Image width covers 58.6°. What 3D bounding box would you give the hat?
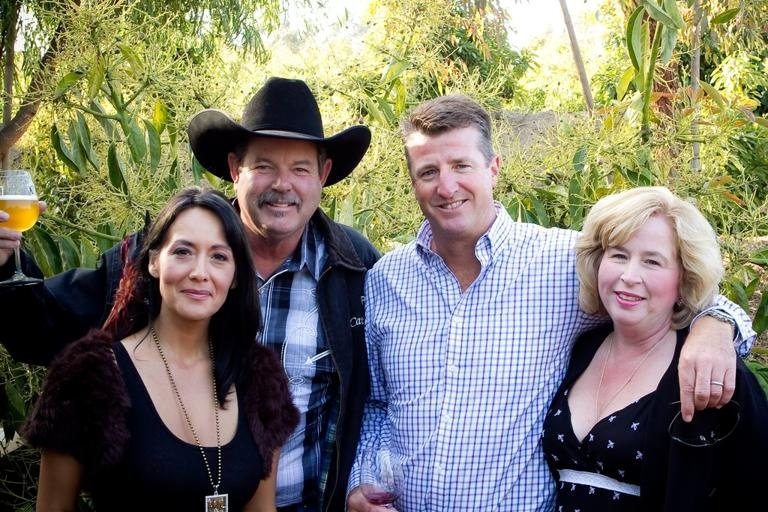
[{"bbox_3d":[-0.684,-0.764,4.203,0.842,0.364,0.919,4,-19,-5],"label":"hat"}]

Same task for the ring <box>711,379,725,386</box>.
[{"bbox_3d":[1.455,0.550,2.981,0.042,0.016,0.036,8,-9,-13],"label":"ring"}]
